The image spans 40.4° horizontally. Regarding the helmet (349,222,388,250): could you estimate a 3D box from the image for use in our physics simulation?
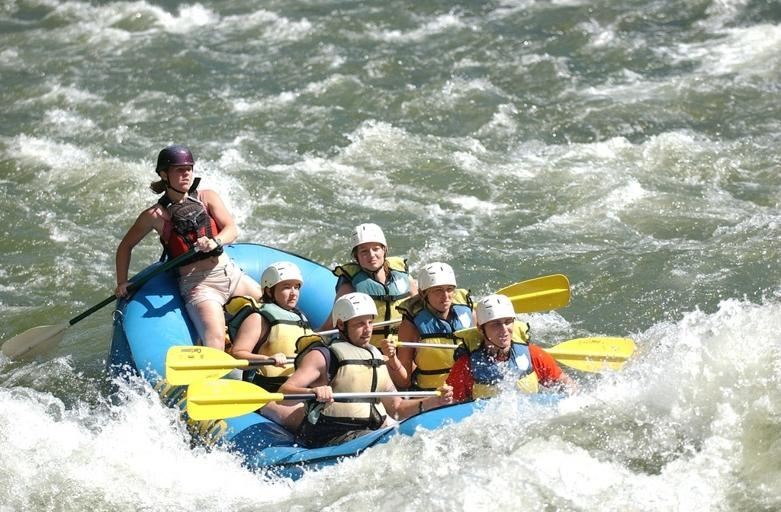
[{"bbox_3d":[-0.267,-0.221,12.612,0.289,0.350,0.268,-3,60,-3],"label":"helmet"}]

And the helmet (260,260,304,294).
[{"bbox_3d":[-1.276,0.220,12.126,0.424,0.298,0.305,-29,-13,28],"label":"helmet"}]

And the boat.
[{"bbox_3d":[-1.399,1.461,11.803,4.062,1.279,2.589,25,44,28],"label":"boat"}]

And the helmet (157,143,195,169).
[{"bbox_3d":[-2.517,-1.149,12.358,0.374,0.207,0.281,7,24,11],"label":"helmet"}]

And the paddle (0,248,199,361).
[{"bbox_3d":[-3.632,0.647,13.282,3.020,0.394,0.146,-24,27,8],"label":"paddle"}]

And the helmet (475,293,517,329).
[{"bbox_3d":[1.108,0.582,11.414,0.382,0.298,0.222,-9,23,-6],"label":"helmet"}]

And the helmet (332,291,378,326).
[{"bbox_3d":[-0.421,0.554,11.569,0.433,0.292,0.321,-23,-12,36],"label":"helmet"}]
